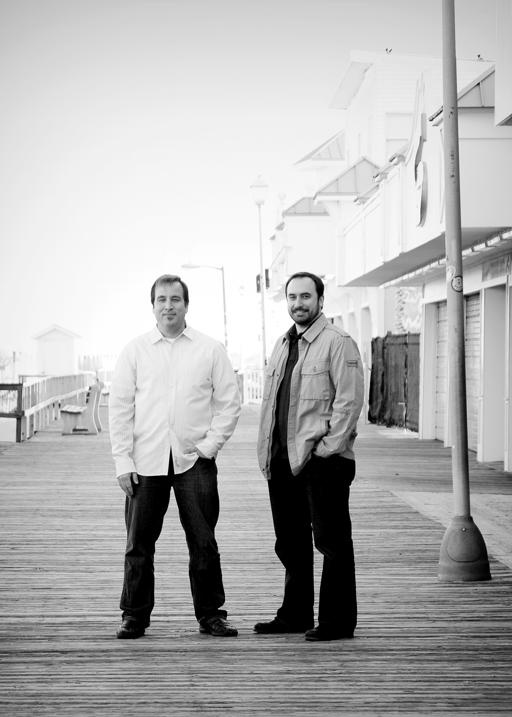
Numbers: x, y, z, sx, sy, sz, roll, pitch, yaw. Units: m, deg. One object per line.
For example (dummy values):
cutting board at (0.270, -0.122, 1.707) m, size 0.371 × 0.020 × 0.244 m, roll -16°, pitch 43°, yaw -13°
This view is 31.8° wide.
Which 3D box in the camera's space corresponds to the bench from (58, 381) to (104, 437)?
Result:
bench at (-3.804, 0.765, 19.109) m, size 0.732 × 1.117 × 1.635 m, roll 2°, pitch 20°, yaw -14°

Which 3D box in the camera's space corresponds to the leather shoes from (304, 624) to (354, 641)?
leather shoes at (0.334, 1.265, 4.111) m, size 0.212 × 0.118 × 0.090 m, roll 8°, pitch -10°, yaw -11°

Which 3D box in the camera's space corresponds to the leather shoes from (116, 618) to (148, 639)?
leather shoes at (-0.578, 1.249, 4.129) m, size 0.055 × 0.088 × 0.177 m, roll -2°, pitch -22°, yaw 7°

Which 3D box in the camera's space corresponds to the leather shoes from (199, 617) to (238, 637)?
leather shoes at (-0.169, 1.242, 4.193) m, size 0.076 × 0.087 × 0.178 m, roll 4°, pitch -9°, yaw -41°

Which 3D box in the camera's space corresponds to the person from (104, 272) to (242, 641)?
person at (-0.377, 0.456, 4.223) m, size 0.620 × 1.702 × 0.300 m, roll -2°, pitch 1°, yaw -11°

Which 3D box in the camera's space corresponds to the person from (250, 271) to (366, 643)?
person at (0.253, 0.456, 4.205) m, size 0.550 × 1.702 × 0.301 m, roll -1°, pitch 1°, yaw 31°
